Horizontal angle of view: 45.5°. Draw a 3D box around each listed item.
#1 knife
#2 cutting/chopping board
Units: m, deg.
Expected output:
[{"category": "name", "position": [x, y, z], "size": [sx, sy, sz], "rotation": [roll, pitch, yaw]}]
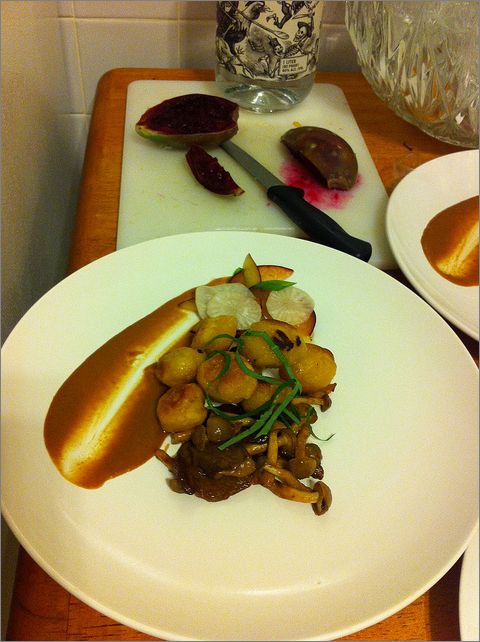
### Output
[{"category": "knife", "position": [0.015, -0.176, 0.780], "size": [0.061, 0.031, 0.395], "rotation": [-20, 46, -35]}, {"category": "cutting/chopping board", "position": [0.010, -0.163, 0.790], "size": [0.355, 0.027, 0.327], "rotation": [-1, 49, -7]}]
